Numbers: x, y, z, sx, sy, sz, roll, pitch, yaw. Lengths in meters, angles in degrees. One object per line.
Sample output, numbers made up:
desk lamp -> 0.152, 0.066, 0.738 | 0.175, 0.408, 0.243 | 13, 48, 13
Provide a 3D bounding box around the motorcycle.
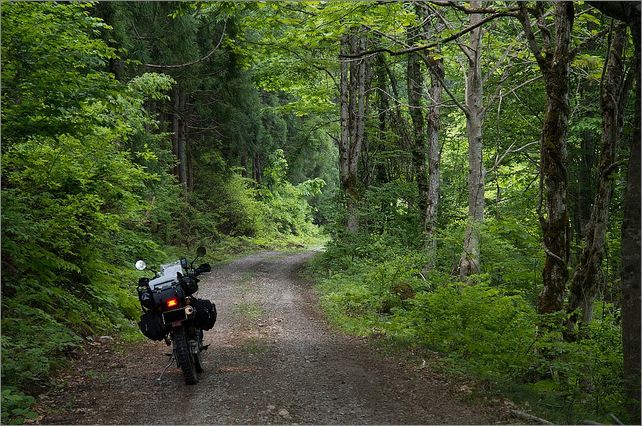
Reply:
motorcycle -> -3.137, 2.213, 12.212 | 1.600, 2.800, 1.495 | -5, 11, -18
